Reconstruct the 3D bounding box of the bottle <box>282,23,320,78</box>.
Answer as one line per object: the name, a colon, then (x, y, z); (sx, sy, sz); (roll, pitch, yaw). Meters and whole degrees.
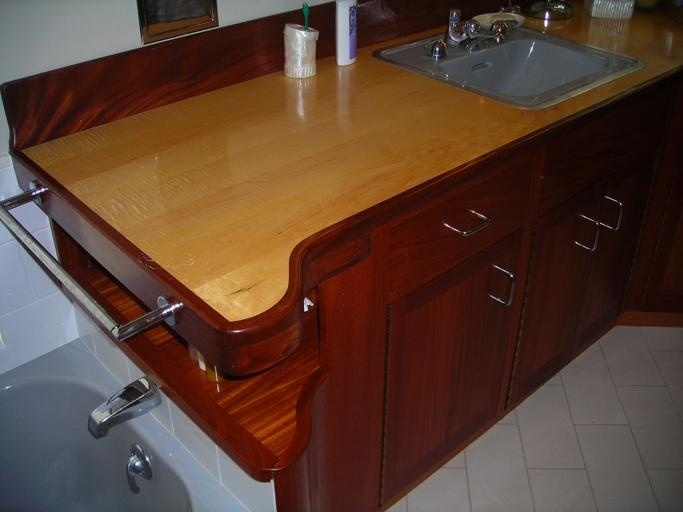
bottle: (-0.127, -0.578, 1.560); (0.104, 0.143, 0.135); (-7, 41, -13)
